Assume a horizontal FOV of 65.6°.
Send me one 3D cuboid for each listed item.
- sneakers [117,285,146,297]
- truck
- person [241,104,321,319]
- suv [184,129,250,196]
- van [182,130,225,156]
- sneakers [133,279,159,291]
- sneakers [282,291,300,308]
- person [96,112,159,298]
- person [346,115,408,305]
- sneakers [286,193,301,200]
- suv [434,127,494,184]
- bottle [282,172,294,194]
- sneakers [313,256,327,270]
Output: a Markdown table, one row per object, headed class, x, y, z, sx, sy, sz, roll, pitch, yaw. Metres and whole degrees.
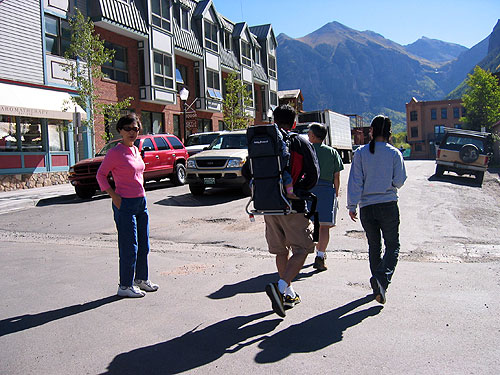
| class | x | y | z | sx | sy | sz | roll | pitch | yaw |
| --- | --- | --- | --- | --- | --- | --- | --- | --- | --- |
| sneakers | -1.585 | 1.362 | 5.169 | 0.298 | 0.155 | 0.164 | 1 | 6 | -9 |
| truck | 5.977 | -3.716 | 30.251 | 2.305 | 3.919 | 7.688 | -7 | 0 | 31 |
| person | 0.388 | 0.248 | 4.479 | 0.870 | 2.407 | 0.603 | -3 | 4 | -20 |
| suv | -0.678 | -1.080 | 15.277 | 2.179 | 2.493 | 4.446 | 1 | 5 | 17 |
| van | -2.306 | -2.338 | 21.157 | 1.352 | 1.349 | 2.601 | 1 | -7 | 32 |
| sneakers | -1.415 | 1.337 | 5.395 | 0.369 | 0.179 | 0.140 | 5 | 14 | -4 |
| sneakers | 0.500 | 1.344 | 4.708 | 0.101 | 0.139 | 0.305 | -1 | 5 | 27 |
| person | -1.601 | 0.233 | 5.117 | 0.678 | 2.420 | 0.511 | -3 | 4 | -17 |
| person | 1.549 | 0.361 | 4.851 | 0.648 | 1.869 | 0.721 | 2 | 5 | 38 |
| sneakers | 0.488 | 0.095 | 4.379 | 0.159 | 0.082 | 0.062 | -5 | 6 | -34 |
| suv | 11.301 | -1.949 | 21.085 | 2.047 | 2.043 | 3.712 | 4 | 11 | 21 |
| bottle | 0.422 | -0.054 | 4.311 | 0.066 | 0.206 | 0.137 | -2 | 6 | -7 |
| sneakers | 1.117 | 1.200 | 6.181 | 0.105 | 0.159 | 0.306 | 1 | 3 | 27 |
